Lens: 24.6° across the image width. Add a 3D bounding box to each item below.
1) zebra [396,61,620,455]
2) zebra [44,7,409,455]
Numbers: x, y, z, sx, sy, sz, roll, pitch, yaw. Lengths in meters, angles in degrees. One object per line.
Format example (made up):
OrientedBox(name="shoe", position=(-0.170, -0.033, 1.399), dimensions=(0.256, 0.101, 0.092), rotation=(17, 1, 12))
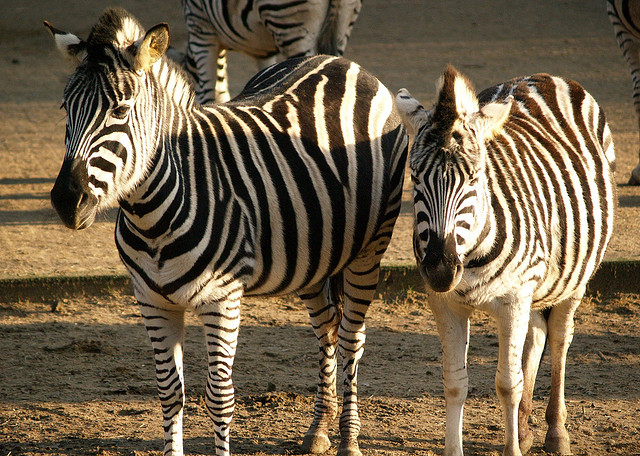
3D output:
OrientedBox(name="zebra", position=(1.744, 0.325, 13.646), dimensions=(2.038, 3.581, 0.690), rotation=(0, 3, -32))
OrientedBox(name="zebra", position=(-0.866, 0.221, 13.981), dimensions=(1.468, 3.580, 4.428), rotation=(5, 8, 37))
